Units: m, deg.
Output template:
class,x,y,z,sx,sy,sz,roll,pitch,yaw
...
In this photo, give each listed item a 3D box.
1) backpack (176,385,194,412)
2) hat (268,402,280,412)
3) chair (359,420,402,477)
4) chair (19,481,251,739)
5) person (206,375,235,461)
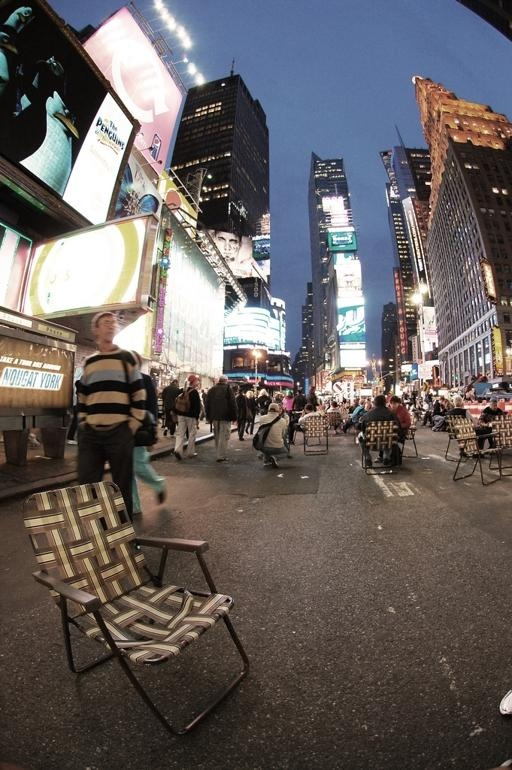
class,x,y,z,sx,sy,sz,roll,pitch,yaw
backpack,-1.532,0.312,10.140,0.252,0.594,0.417,6,-4,-34
hat,0.361,0.447,9.911,0.141,0.164,0.201,-1,-16,2
chair,2.387,1.207,9.269,0.675,0.772,1.194,-1,-46,8
chair,-0.636,1.026,2.612,1.302,1.003,0.892,9,17,41
person,-0.813,0.740,10.662,0.647,1.865,1.400,3,-4,-5
